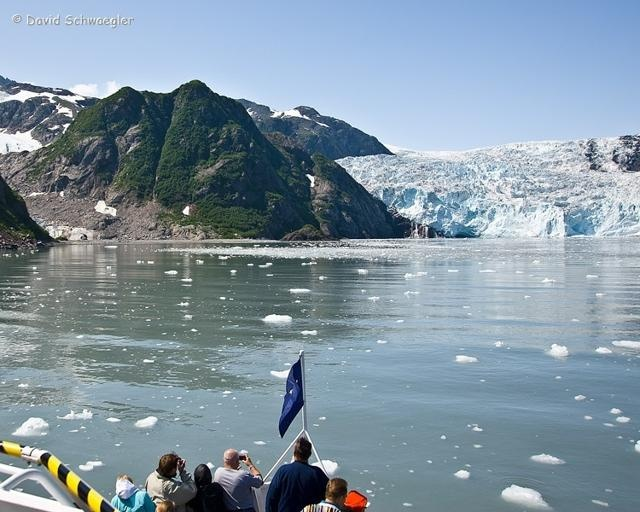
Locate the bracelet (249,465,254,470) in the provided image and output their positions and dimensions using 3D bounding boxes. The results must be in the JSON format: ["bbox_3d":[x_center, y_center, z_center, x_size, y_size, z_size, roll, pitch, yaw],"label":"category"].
[{"bbox_3d":[-1.372,4.287,12.968,0.124,0.061,0.112,5,-10,-43],"label":"bracelet"}]
